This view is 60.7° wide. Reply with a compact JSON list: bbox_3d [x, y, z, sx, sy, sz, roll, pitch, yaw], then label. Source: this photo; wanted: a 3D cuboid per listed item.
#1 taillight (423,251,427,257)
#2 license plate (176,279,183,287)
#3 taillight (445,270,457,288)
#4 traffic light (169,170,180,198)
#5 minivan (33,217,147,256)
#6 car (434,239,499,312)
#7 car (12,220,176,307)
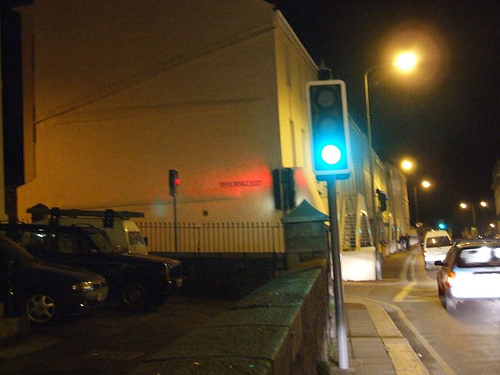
[{"bbox_3d":[9.448,3.586,23.065,0.091,0.276,0.446,-4,-8,15],"label":"taillight"},{"bbox_3d":[-1.992,2.689,12.027,0.135,0.194,0.267,-1,-5,4],"label":"license plate"},{"bbox_3d":[5.233,2.380,11.097,0.226,0.410,0.293,-3,-7,5],"label":"taillight"},{"bbox_3d":[-2.585,-0.132,14.539,0.264,0.933,0.720,-2,-7,-1],"label":"traffic light"},{"bbox_3d":[-5.037,1.367,13.901,2.896,1.981,1.734,0,-4,-1],"label":"minivan"},{"bbox_3d":[5.909,2.356,11.805,1.227,1.165,2.053,-3,-2,10],"label":"car"},{"bbox_3d":[-4.067,1.974,11.811,3.964,1.930,2.099,4,-1,6],"label":"car"}]
